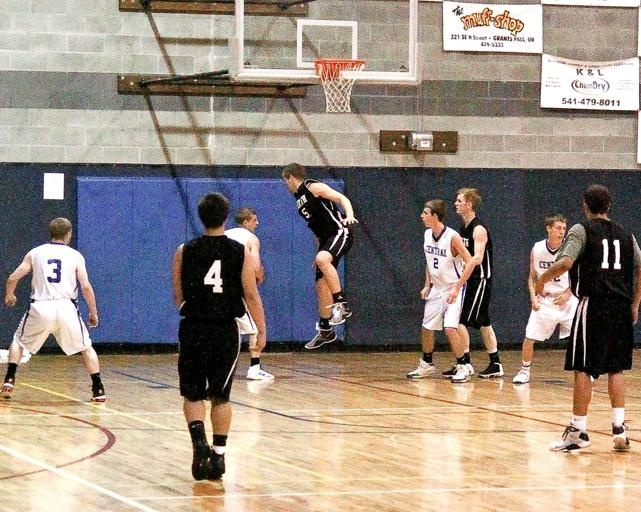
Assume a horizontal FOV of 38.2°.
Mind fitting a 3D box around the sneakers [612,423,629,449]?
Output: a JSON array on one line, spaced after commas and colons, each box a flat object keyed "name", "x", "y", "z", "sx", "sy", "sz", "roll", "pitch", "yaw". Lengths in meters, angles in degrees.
[{"name": "sneakers", "x": 2.410, "y": 1.456, "z": 7.424, "sx": 0.098, "sy": 0.232, "sz": 0.288, "roll": -2, "pitch": -10, "yaw": 15}]

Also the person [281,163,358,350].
[{"name": "person", "x": 0.011, "y": 0.015, "z": 10.222, "sx": 0.747, "sy": 2.055, "sz": 0.620, "roll": 1, "pitch": 4, "yaw": 19}]

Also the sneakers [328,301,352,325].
[{"name": "sneakers", "x": 0.211, "y": 0.641, "z": 10.198, "sx": 0.219, "sy": 0.280, "sz": 0.193, "roll": 0, "pitch": 4, "yaw": 1}]

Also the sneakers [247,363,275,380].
[{"name": "sneakers", "x": -0.656, "y": 1.356, "z": 10.810, "sx": 0.369, "sy": 0.268, "sz": 0.137, "roll": 1, "pitch": 0, "yaw": -13}]

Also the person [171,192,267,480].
[{"name": "person", "x": -0.717, "y": 0.562, "z": 6.493, "sx": 0.597, "sy": 1.975, "sz": 0.338, "roll": -1, "pitch": 4, "yaw": -11}]

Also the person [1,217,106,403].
[{"name": "person", "x": -2.607, "y": 0.538, "z": 9.034, "sx": 0.994, "sy": 1.786, "sz": 0.472, "roll": 0, "pitch": 4, "yaw": 2}]

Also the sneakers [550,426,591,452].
[{"name": "sneakers", "x": 1.987, "y": 1.459, "z": 7.425, "sx": 0.355, "sy": 0.272, "sz": 0.148, "roll": -2, "pitch": 1, "yaw": 6}]

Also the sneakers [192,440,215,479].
[{"name": "sneakers", "x": -0.750, "y": 1.417, "z": 6.383, "sx": 0.126, "sy": 0.255, "sz": 0.245, "roll": 1, "pitch": -12, "yaw": 1}]

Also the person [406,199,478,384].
[{"name": "person", "x": 1.389, "y": 0.428, "z": 10.684, "sx": 0.653, "sy": 2.122, "sz": 0.936, "roll": 0, "pitch": 4, "yaw": -1}]
